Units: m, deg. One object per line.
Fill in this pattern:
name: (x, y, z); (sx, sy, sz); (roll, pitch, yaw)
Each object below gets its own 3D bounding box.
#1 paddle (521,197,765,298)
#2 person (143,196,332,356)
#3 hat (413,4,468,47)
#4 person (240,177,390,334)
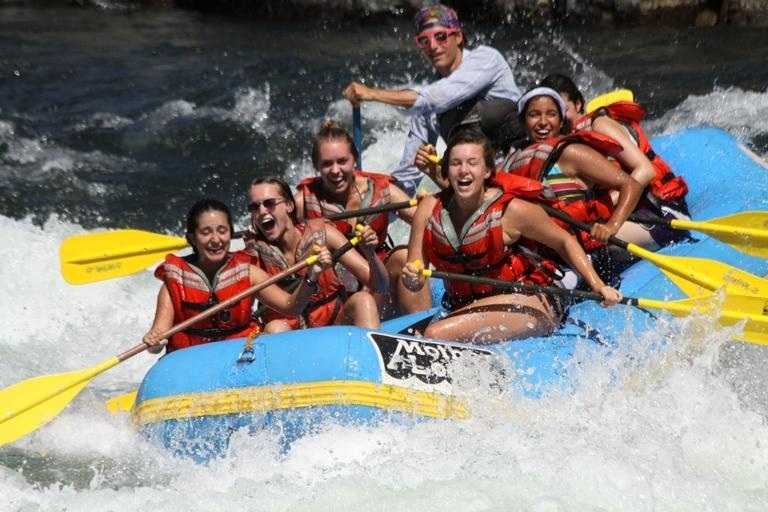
paddle: (2.296, -0.059, 8.217); (1.529, 0.218, 0.194); (28, 24, 1)
person: (-1.275, 0.220, 8.166); (1.380, 1.819, 0.962); (-9, -1, -41)
hat: (0.556, -2.336, 9.285); (0.352, 0.476, 0.371); (-16, 66, 6)
person: (-0.742, -0.043, 8.264); (1.055, 0.688, 1.510); (-25, 44, -9)
